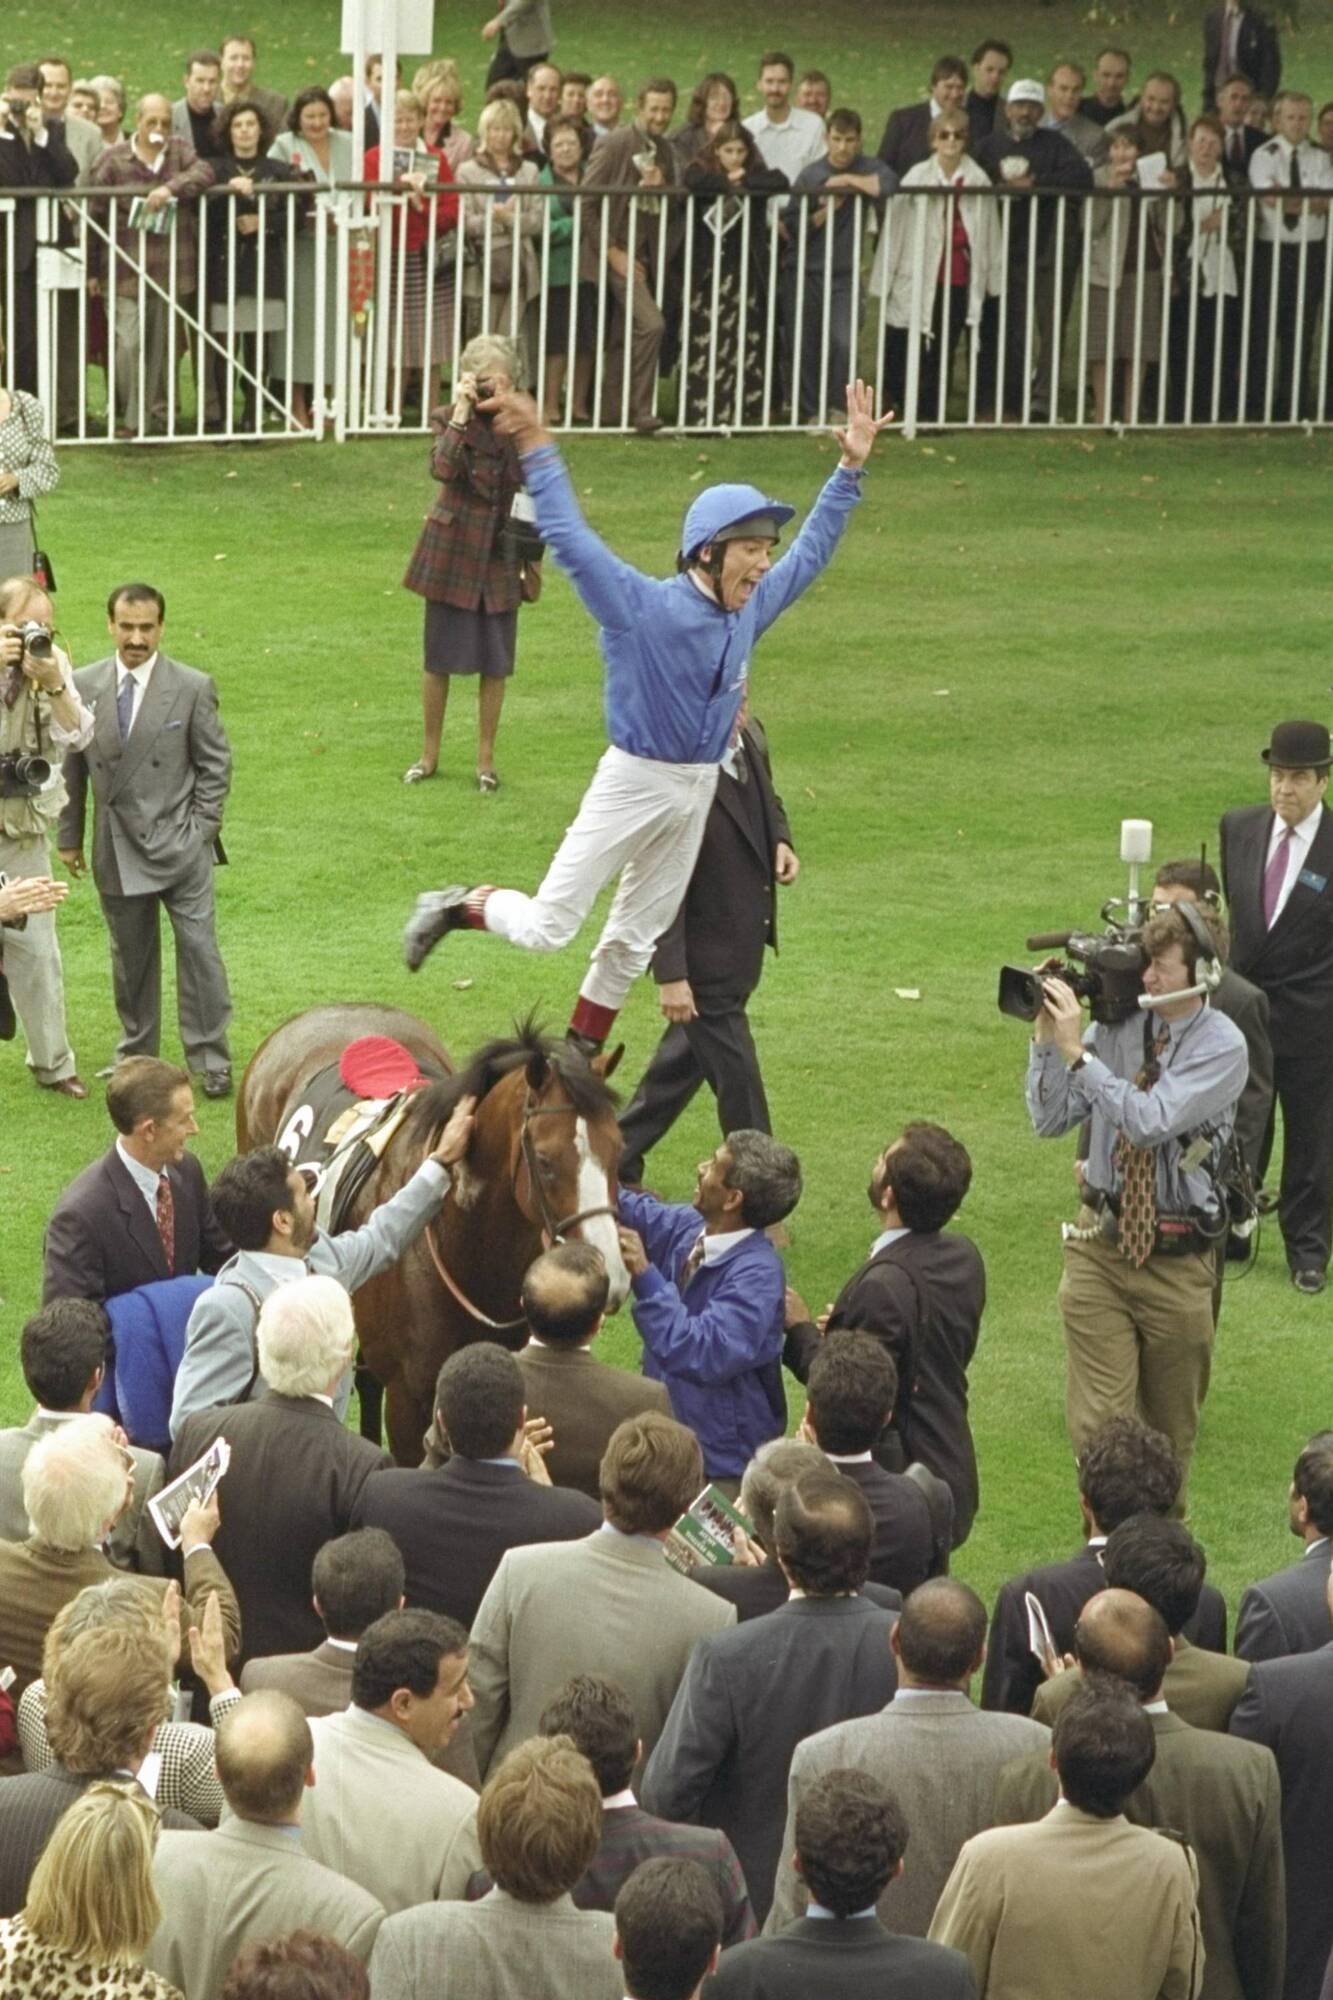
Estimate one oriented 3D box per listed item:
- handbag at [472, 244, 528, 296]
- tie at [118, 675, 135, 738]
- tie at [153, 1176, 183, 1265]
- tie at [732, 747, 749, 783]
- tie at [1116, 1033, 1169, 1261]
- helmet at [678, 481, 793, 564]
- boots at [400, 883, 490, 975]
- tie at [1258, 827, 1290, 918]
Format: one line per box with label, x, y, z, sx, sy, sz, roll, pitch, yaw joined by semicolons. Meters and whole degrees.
handbag;-0.718;-3.191;15.954;0.177;0.251;0.239;-2;5;0
tie;-1.415;-0.776;9.588;0.045;0.143;0.017;1;7;-8
tie;-0.967;0.423;7.071;0.027;0.180;0.060;5;8;22
tie;0.169;-0.567;8.832;0.020;0.088;0.089;7;9;35
tie;0.975;0.306;7.519;0.066;0.498;0.091;-2;8;-28
helmet;0.147;-1.081;8.275;0.219;0.116;0.163;-18;-1;19
boots;-0.540;-0.168;8.569;0.087;0.159;0.214;-3;40;41
tie;1.521;-0.316;9.149;0.062;0.233;0.045;3;7;10
